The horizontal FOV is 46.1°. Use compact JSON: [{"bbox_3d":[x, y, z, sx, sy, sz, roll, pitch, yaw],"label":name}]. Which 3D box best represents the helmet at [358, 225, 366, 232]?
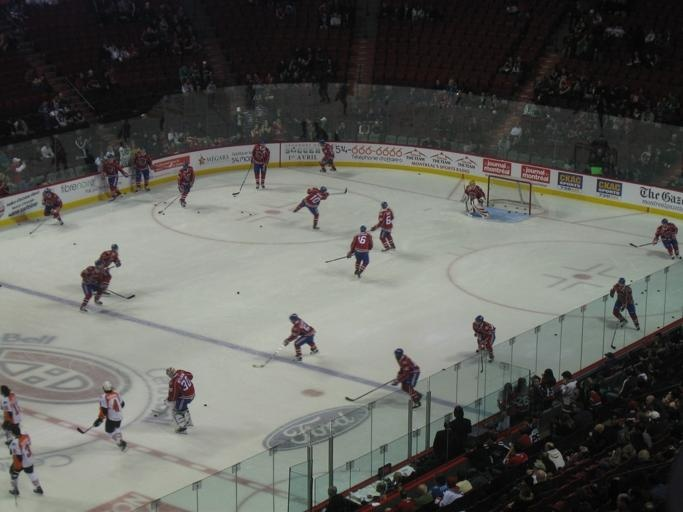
[{"bbox_3d":[0.630,-0.828,24.374,0.178,0.154,0.306,0,13,-1],"label":"helmet"}]

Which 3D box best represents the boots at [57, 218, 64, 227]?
[{"bbox_3d":[-10.227,-1.214,29.254,0.277,0.247,0.218,5,13,33],"label":"boots"}]

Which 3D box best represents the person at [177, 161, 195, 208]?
[{"bbox_3d":[-6.110,-2.843,31.345,0.650,1.810,1.052,-9,20,-12],"label":"person"}]

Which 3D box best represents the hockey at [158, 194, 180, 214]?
[{"bbox_3d":[-6.870,-1.997,31.534,0.155,0.176,1.226,-20,21,31],"label":"hockey"}]

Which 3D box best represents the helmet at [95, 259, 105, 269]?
[{"bbox_3d":[-6.786,0.228,22.465,0.248,0.206,0.227,-1,-4,0],"label":"helmet"}]

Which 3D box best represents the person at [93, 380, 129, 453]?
[{"bbox_3d":[-4.928,3.154,16.888,0.667,1.506,1.347,-10,20,-16],"label":"person"}]

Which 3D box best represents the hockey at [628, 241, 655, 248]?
[{"bbox_3d":[10.135,-0.399,27.251,0.769,0.079,0.404,-6,18,-10],"label":"hockey"}]

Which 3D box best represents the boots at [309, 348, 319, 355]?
[{"bbox_3d":[-0.714,2.413,20.258,0.125,0.149,0.240,-1,4,6],"label":"boots"}]

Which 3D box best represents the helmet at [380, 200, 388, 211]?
[{"bbox_3d":[1.374,-1.670,26.216,0.344,0.375,0.383,-7,5,2],"label":"helmet"}]

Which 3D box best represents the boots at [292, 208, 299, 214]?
[{"bbox_3d":[-1.752,-1.716,30.137,0.179,0.174,0.635,4,-11,-9],"label":"boots"}]

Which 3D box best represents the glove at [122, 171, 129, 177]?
[{"bbox_3d":[-8.805,-3.341,32.585,0.209,0.228,0.630,-9,0,-17],"label":"glove"}]

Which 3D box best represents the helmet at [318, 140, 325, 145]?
[{"bbox_3d":[-0.898,-5.134,36.212,0.277,0.100,0.348,2,18,-1],"label":"helmet"}]

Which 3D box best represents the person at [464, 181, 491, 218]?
[{"bbox_3d":[5.139,-2.347,31.072,0.790,1.385,1.580,-3,19,2],"label":"person"}]

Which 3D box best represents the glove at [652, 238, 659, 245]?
[{"bbox_3d":[10.033,-0.495,25.761,0.232,0.266,0.102,5,56,3],"label":"glove"}]

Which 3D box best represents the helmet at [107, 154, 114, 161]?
[{"bbox_3d":[-9.133,-3.957,31.743,0.148,0.256,0.340,3,19,19],"label":"helmet"}]

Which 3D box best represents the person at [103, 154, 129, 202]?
[{"bbox_3d":[-9.139,-3.197,32.002,0.742,1.866,0.450,-10,21,-16],"label":"person"}]

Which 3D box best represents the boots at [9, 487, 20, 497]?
[{"bbox_3d":[-6.210,4.473,15.223,0.136,0.192,0.215,-1,4,-38],"label":"boots"}]

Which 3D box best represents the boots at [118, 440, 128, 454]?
[{"bbox_3d":[-4.531,3.926,16.567,0.205,0.272,0.127,26,29,24],"label":"boots"}]

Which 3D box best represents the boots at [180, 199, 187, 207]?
[{"bbox_3d":[-6.252,-2.099,31.543,0.259,0.248,0.675,-3,13,-14],"label":"boots"}]

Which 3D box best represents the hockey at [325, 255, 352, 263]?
[{"bbox_3d":[-0.128,0.093,26.126,0.841,0.094,0.056,-13,35,-7],"label":"hockey"}]

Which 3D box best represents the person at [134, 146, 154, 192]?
[{"bbox_3d":[-8.259,-3.593,33.214,0.805,1.797,0.775,-8,20,-12],"label":"person"}]

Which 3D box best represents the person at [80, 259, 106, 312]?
[{"bbox_3d":[-7.016,0.818,22.559,0.765,1.276,0.875,1,20,13],"label":"person"}]

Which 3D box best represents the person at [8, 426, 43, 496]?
[{"bbox_3d":[-6.078,3.876,15.149,0.616,1.407,0.408,-7,20,-9],"label":"person"}]

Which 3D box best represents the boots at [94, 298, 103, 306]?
[{"bbox_3d":[-6.918,1.294,22.827,0.251,0.205,0.111,0,29,-22],"label":"boots"}]

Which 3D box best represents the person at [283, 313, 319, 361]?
[{"bbox_3d":[-1.057,2.107,20.394,0.939,1.123,0.596,1,49,5],"label":"person"}]

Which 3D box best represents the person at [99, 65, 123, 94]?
[{"bbox_3d":[-11.090,-8.487,38.451,0.699,1.061,1.672,-7,19,-8],"label":"person"}]

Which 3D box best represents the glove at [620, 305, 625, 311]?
[{"bbox_3d":[6.491,1.208,18.656,0.120,0.143,0.036,0,-5,6],"label":"glove"}]

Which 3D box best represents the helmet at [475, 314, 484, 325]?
[{"bbox_3d":[3.365,1.543,19.492,0.208,0.220,0.240,-4,-7,-2],"label":"helmet"}]

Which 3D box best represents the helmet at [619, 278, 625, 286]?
[{"bbox_3d":[6.989,0.657,20.107,0.165,0.152,0.207,1,7,6],"label":"helmet"}]

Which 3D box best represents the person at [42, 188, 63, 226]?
[{"bbox_3d":[-10.597,-1.882,29.313,0.656,1.393,1.162,-11,20,-19],"label":"person"}]

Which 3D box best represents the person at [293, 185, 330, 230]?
[{"bbox_3d":[-1.047,-1.895,28.706,1.220,1.501,0.892,29,38,14],"label":"person"}]

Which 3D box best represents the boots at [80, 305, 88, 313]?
[{"bbox_3d":[-7.201,1.469,22.401,0.269,0.214,0.134,-2,16,-22],"label":"boots"}]

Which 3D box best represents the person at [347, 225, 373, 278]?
[{"bbox_3d":[0.540,-0.246,24.923,0.726,1.654,1.558,-4,19,1],"label":"person"}]

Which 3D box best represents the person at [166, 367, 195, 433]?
[{"bbox_3d":[-3.447,3.030,17.183,0.578,1.455,0.566,-9,20,-12],"label":"person"}]

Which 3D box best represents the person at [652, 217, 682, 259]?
[{"bbox_3d":[10.416,-0.583,25.742,0.791,1.426,1.246,4,21,22],"label":"person"}]

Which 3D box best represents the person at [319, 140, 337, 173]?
[{"bbox_3d":[-0.689,-4.630,36.703,0.702,1.449,1.606,-4,19,-1],"label":"person"}]

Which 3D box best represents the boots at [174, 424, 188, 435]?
[{"bbox_3d":[-3.442,3.712,17.201,0.177,0.164,0.265,-2,-3,-16],"label":"boots"}]

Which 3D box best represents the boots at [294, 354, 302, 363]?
[{"bbox_3d":[-1.082,2.549,20.035,0.132,0.184,0.214,3,2,42],"label":"boots"}]

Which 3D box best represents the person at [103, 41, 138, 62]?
[{"bbox_3d":[-11.107,-10.093,39.807,0.673,0.885,1.837,12,23,37],"label":"person"}]

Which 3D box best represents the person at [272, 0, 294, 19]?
[{"bbox_3d":[-3.069,-13.164,42.868,1.105,0.891,0.384,-3,20,2],"label":"person"}]
